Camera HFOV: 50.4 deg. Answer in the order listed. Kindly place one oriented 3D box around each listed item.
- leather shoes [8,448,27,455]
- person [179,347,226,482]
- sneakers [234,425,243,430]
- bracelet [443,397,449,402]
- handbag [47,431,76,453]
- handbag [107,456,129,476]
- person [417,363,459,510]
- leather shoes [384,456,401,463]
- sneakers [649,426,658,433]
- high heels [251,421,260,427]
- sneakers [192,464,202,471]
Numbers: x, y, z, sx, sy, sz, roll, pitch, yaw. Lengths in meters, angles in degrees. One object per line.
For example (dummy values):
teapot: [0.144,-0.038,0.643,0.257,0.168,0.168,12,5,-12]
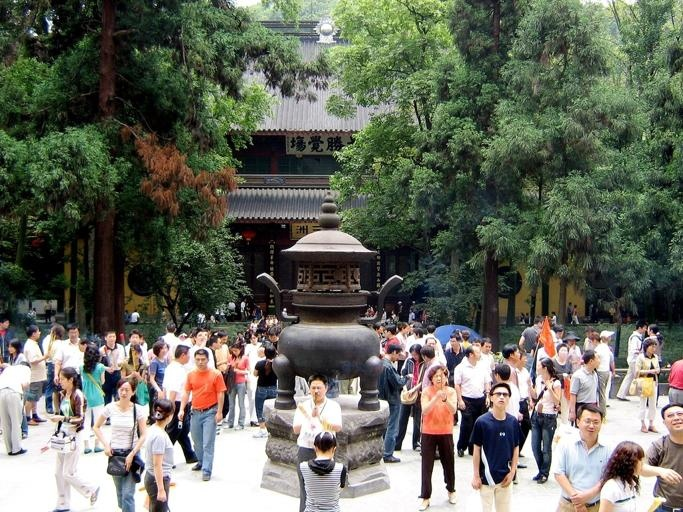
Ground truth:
leather shoes: [-5.791,3.478,12.942,0.274,0.135,0.090,-10,18,-30]
person: [-2.268,2.581,11.865,0.629,2.033,0.680,2,4,8]
sneakers: [-2.100,3.496,14.780,0.125,0.082,0.080,3,-4,1]
bracelet: [1.518,2.125,10.761,0.036,0.084,0.102,-1,-2,-14]
handbag: [-4.073,2.690,10.575,0.440,0.351,0.272,2,-8,3]
handbag: [-3.047,2.862,9.897,0.229,0.247,0.127,3,-15,-7]
person: [1.426,2.706,10.938,0.634,2.134,0.536,-1,-2,-9]
leather shoes: [0.876,3.571,12.795,0.287,0.130,0.111,0,0,-2]
sneakers: [6.276,3.521,14.707,0.084,0.104,0.228,-1,-5,-23]
high heels: [-1.809,3.488,15.036,0.164,0.081,0.073,-8,-6,32]
sneakers: [-2.433,3.551,12.174,0.150,0.164,0.085,2,-16,5]
